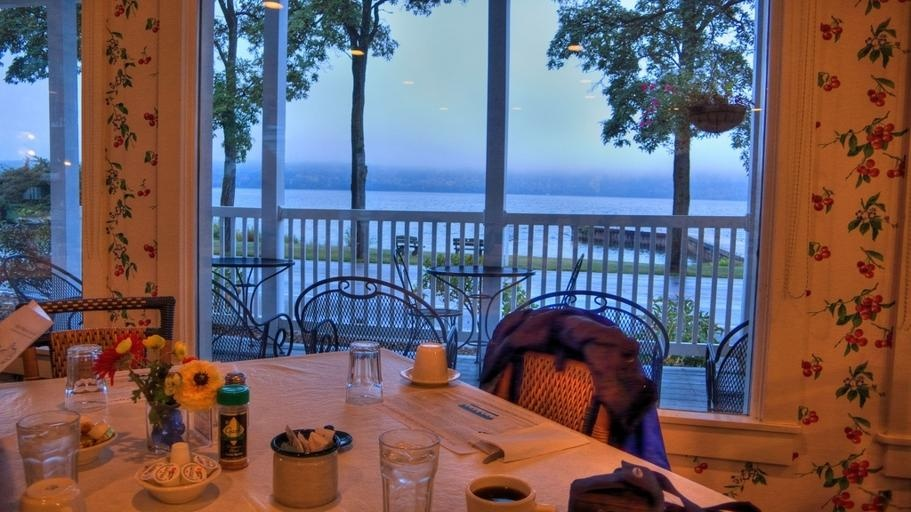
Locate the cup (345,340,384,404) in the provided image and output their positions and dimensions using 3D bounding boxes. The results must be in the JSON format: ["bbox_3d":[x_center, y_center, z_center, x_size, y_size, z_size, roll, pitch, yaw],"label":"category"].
[{"bbox_3d":[-0.379,0.507,3.534,0.240,0.307,0.232,0,5,0],"label":"cup"}]

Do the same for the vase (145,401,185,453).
[{"bbox_3d":[-1.146,0.681,3.236,0.188,0.201,0.188,1,3,-11],"label":"vase"}]

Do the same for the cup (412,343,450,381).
[{"bbox_3d":[-0.115,0.480,3.649,0.166,0.141,0.165,1,2,0],"label":"cup"}]

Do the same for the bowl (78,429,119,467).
[{"bbox_3d":[-1.399,0.759,3.148,0.072,0.113,0.176,3,1,19],"label":"bowl"}]

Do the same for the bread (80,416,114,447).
[{"bbox_3d":[-1.420,0.696,3.141,0.113,0.050,0.115,2,2,-28],"label":"bread"}]

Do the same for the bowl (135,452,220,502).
[{"bbox_3d":[-1.038,0.854,3.000,0.199,0.068,0.194,2,8,0],"label":"bowl"}]

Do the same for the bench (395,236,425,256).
[{"bbox_3d":[-0.299,-0.061,4.978,0.146,0.096,0.133,2,14,0],"label":"bench"}]

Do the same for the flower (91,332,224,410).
[{"bbox_3d":[-1.261,0.468,3.350,0.469,0.317,0.772,2,0,-24],"label":"flower"}]

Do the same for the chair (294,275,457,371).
[{"bbox_3d":[-0.438,0.300,4.963,0.731,0.896,0.642,3,3,3],"label":"chair"}]
